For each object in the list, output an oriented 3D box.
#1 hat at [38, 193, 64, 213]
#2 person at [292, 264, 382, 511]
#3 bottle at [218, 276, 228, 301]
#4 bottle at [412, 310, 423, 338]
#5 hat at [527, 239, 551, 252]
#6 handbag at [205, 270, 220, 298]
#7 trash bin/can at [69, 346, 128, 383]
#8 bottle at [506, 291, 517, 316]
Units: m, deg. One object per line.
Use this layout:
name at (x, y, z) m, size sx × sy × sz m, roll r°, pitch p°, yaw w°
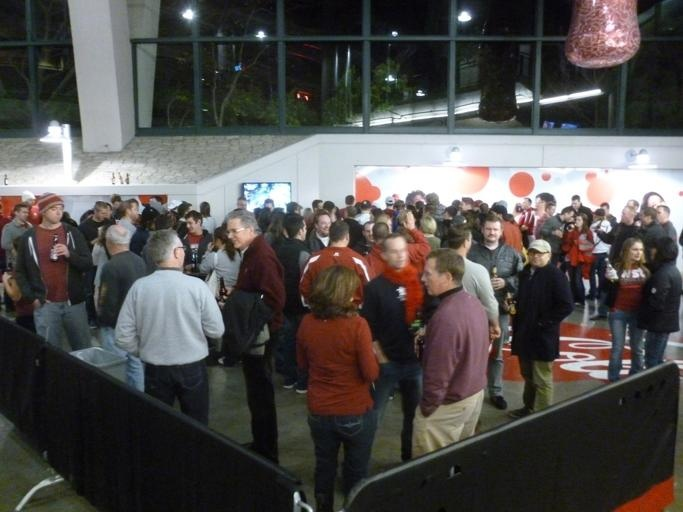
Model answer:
hat at (-3.029, -0.567, 6.425) m, size 0.188 × 0.154 × 0.182 m, roll 12°, pitch 11°, yaw 3°
person at (-0.033, 1.004, 4.618) m, size 0.587 × 1.844 × 0.341 m, roll -1°, pitch 8°, yaw -3°
bottle at (-1.232, 0.352, 6.417) m, size 0.084 × 0.215 × 0.310 m, roll -2°, pitch 8°, yaw -10°
bottle at (0.643, 0.582, 5.163) m, size 0.064 × 0.185 × 0.134 m, roll 7°, pitch 3°, yaw -15°
hat at (1.985, -0.096, 6.141) m, size 0.182 × 0.112 × 0.308 m, roll 2°, pitch 9°, yaw 22°
handbag at (-1.309, 0.297, 6.279) m, size 0.114 × 0.301 × 0.228 m, roll -10°, pitch 16°, yaw -10°
trash bin/can at (-2.055, 0.936, 5.213) m, size 0.434 × 0.316 × 0.248 m, roll 10°, pitch 11°, yaw 41°
bottle at (1.785, 0.493, 6.460) m, size 0.087 × 0.087 × 0.258 m, roll 48°, pitch -1°, yaw 28°
